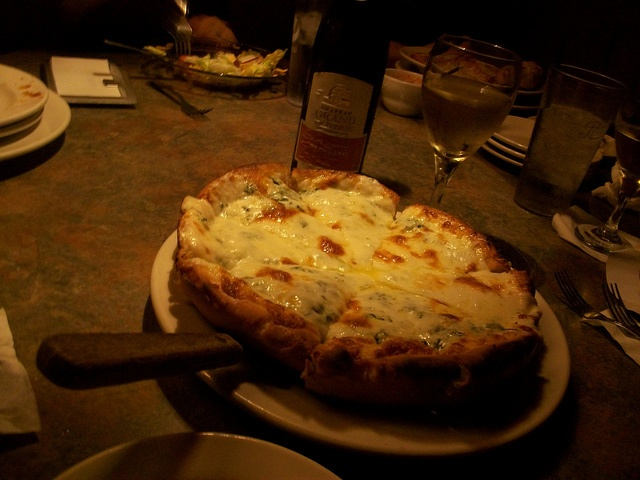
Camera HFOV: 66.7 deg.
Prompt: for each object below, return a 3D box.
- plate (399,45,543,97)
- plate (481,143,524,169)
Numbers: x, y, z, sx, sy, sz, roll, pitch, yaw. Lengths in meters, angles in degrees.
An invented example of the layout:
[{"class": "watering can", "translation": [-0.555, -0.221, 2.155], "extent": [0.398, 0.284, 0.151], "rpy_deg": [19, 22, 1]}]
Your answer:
[{"class": "plate", "translation": [0.343, -0.387, 1.102], "extent": [0.200, 0.045, 0.197], "rpy_deg": [10, 13, -6]}, {"class": "plate", "translation": [0.521, -0.232, 1.427], "extent": [0.100, 0.023, 0.101], "rpy_deg": [32, 17, 28]}]
